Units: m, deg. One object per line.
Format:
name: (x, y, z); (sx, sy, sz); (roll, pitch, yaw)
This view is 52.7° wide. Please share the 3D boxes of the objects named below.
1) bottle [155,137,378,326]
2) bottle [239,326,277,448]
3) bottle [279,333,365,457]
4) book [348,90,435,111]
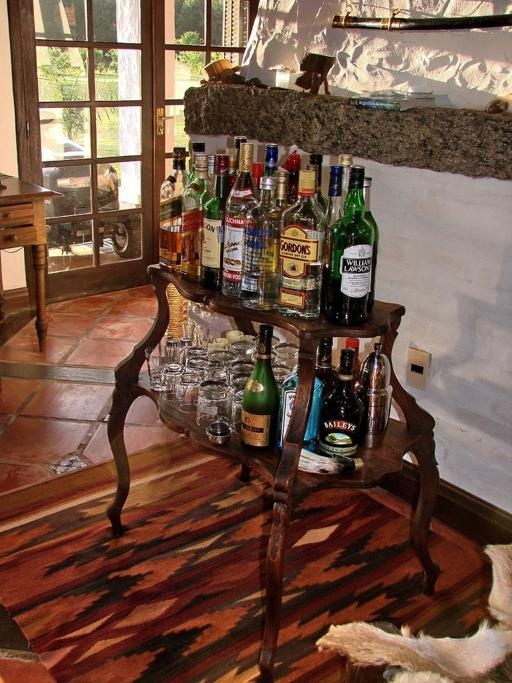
bottle: (-0.054, -0.304, 1.335); (0.246, 0.409, 0.706); (-7, 17, -29)
bottle: (0.010, 0.110, 1.285); (0.092, 0.326, 0.072); (1, 15, -2)
bottle: (0.174, 0.134, 1.296); (0.177, 0.296, 0.279); (12, 18, 34)
book: (0.403, -0.714, 1.541); (0.253, 0.065, 0.112); (5, 15, 13)
